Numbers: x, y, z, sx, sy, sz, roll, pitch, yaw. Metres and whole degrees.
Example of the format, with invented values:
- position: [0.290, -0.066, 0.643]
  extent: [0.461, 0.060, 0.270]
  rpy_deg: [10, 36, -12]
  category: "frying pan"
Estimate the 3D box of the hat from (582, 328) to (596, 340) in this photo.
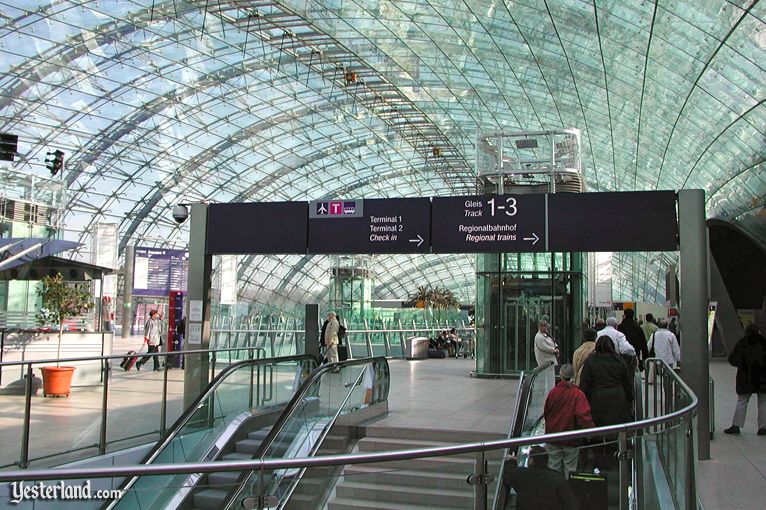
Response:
- position: [4.511, 1.758, 12.106]
  extent: [0.251, 0.279, 0.306]
  rpy_deg: [1, 3, 11]
  category: "hat"

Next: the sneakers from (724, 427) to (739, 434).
- position: [8.408, 4.248, 13.338]
  extent: [0.393, 0.152, 0.146]
  rpy_deg: [0, -2, 15]
  category: "sneakers"

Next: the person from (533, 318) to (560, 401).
- position: [4.385, 2.776, 14.761]
  extent: [0.907, 0.852, 2.987]
  rpy_deg: [0, -30, 21]
  category: "person"

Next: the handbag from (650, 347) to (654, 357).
- position: [6.996, 2.563, 14.383]
  extent: [0.071, 0.272, 0.206]
  rpy_deg: [-1, 2, 13]
  category: "handbag"

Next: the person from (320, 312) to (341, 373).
- position: [-1.794, 2.840, 19.042]
  extent: [0.663, 1.714, 0.876]
  rpy_deg: [-1, -3, -6]
  category: "person"

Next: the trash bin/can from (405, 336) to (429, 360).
- position: [2.031, 5.290, 31.106]
  extent: [0.572, 1.228, 1.767]
  rpy_deg: [-4, -4, 34]
  category: "trash bin/can"
